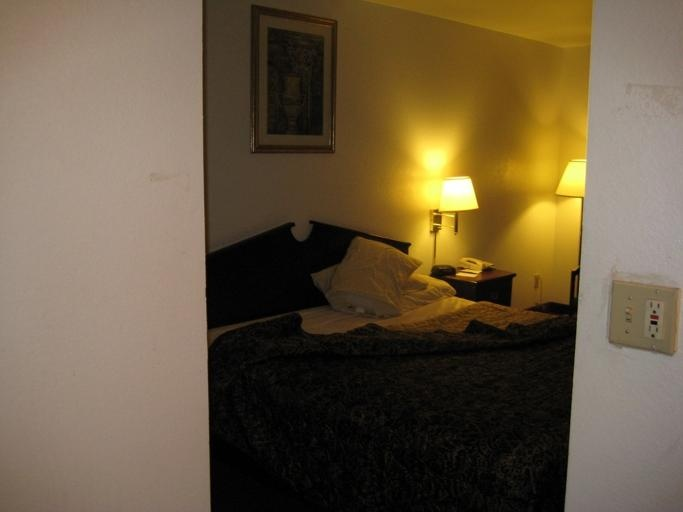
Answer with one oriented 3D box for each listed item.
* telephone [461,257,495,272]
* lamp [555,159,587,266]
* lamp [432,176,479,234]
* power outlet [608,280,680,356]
[{"bbox_3d":[0.825,0.053,3.542,0.123,0.047,0.113,7,12,18],"label":"telephone"},{"bbox_3d":[1.352,-0.273,3.394,0.170,0.699,0.199,8,14,27],"label":"lamp"},{"bbox_3d":[0.650,-0.334,3.376,0.208,0.399,0.213,-4,13,-30],"label":"lamp"},{"bbox_3d":[0.464,0.091,0.872,0.012,0.122,0.094,-7,13,-43],"label":"power outlet"}]
